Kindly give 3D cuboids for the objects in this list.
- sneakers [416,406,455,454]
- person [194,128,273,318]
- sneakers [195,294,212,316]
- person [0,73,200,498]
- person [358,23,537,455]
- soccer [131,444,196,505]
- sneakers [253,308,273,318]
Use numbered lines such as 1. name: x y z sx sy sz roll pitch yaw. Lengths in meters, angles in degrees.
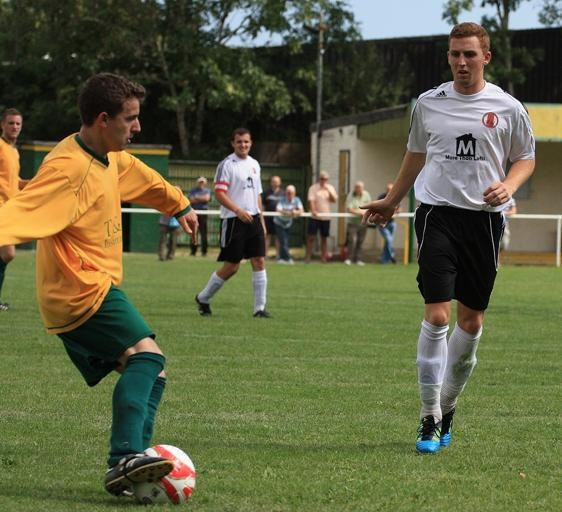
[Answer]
1. sneakers: 0.885 1.020 6.454 0.110 0.152 0.342 -3 -6 19
2. person: -0.372 -0.321 10.990 0.696 1.792 0.715 6 7 32
3. sneakers: -0.814 0.496 11.047 0.133 0.203 0.207 -3 1 -7
4. person: -1.029 0.119 5.940 0.823 2.137 1.024 1 6 -6
5. person: 1.079 -0.137 6.634 0.808 2.422 0.766 1 6 -3
6. soccer: -0.598 1.126 5.790 0.244 0.235 0.303 -1 -2 1
7. sneakers: -0.186 0.557 10.841 0.175 0.075 0.069 -2 0 22
